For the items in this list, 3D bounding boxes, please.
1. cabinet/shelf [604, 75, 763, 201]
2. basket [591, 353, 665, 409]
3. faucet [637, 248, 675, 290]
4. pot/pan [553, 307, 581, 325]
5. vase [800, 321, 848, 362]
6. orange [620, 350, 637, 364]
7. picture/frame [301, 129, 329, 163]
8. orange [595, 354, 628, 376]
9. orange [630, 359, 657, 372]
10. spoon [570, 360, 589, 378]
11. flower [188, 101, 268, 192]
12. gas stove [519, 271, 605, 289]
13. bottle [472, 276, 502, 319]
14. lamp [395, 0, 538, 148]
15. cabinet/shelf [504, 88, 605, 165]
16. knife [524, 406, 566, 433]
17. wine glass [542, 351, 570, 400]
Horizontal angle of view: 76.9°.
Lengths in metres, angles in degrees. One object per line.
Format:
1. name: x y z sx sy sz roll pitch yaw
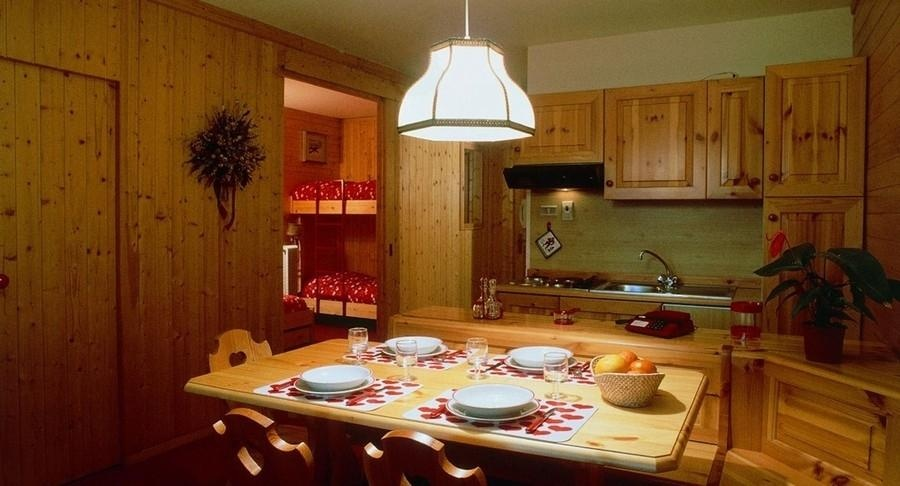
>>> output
1. cabinet/shelf: 2.269 -0.998 5.426 1.490 0.992 0.517 0 -1 21
2. basket: 1.119 0.865 3.608 0.388 0.172 0.362 -2 -3 9
3. faucet: 2.174 0.259 5.917 0.213 0.405 0.325 -5 5 -44
4. pot/pan: 0.949 0.602 4.682 0.229 0.128 0.176 1 0 23
5. vase: 2.611 0.684 3.940 0.330 0.235 0.343 -1 -10 28
6. orange: 1.187 0.749 3.769 0.091 0.084 0.093 -5 1 19
7. picture/frame: -2.235 -1.600 9.322 0.072 0.446 0.674 -3 3 21
8. orange: 1.029 0.764 3.645 0.153 0.129 0.155 -1 0 22
9. orange: 1.224 0.780 3.589 0.108 0.085 0.101 -1 2 10
10. spoon: 0.911 0.885 3.983 0.055 0.051 0.376 2 -2 24
11. flower: -2.092 -0.923 5.364 0.192 0.831 0.729 1 4 39
12. gas stove: 1.196 0.380 6.021 0.843 0.127 0.551 -1 3 15
13. bottle: 0.325 0.449 4.879 0.252 0.342 0.397 -1 3 4
14. lamp: 0.163 -1.163 4.130 0.865 0.932 0.887 1 5 21
15. cabinet/shelf: 1.112 -1.218 5.960 0.941 0.657 0.469 -5 22 0
16. knife: 0.539 1.062 3.419 0.071 0.033 0.258 3 13 34
17. wine glass: 0.694 0.835 3.690 0.146 0.304 0.401 -1 3 11
